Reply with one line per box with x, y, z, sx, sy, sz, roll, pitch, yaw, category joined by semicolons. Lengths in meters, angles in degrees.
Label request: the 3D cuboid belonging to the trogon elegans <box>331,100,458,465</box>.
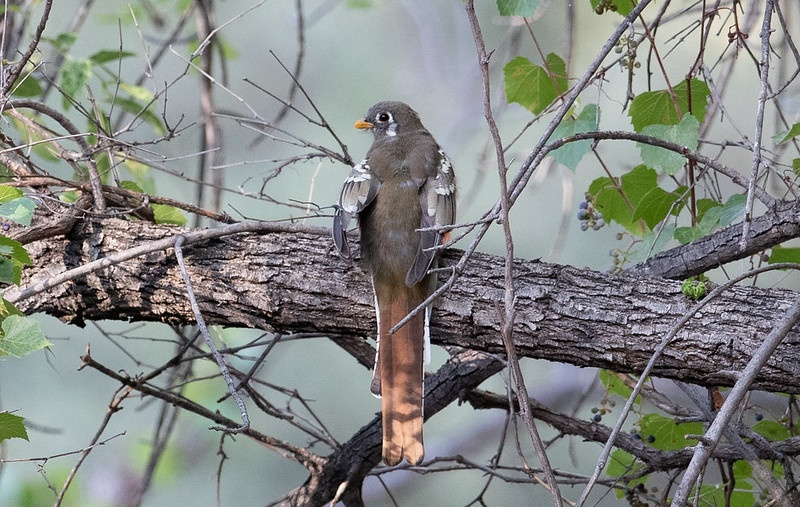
-0.039;0.013;5.638;0.610;2.206;0.660;-24;-48;26;trogon elegans
